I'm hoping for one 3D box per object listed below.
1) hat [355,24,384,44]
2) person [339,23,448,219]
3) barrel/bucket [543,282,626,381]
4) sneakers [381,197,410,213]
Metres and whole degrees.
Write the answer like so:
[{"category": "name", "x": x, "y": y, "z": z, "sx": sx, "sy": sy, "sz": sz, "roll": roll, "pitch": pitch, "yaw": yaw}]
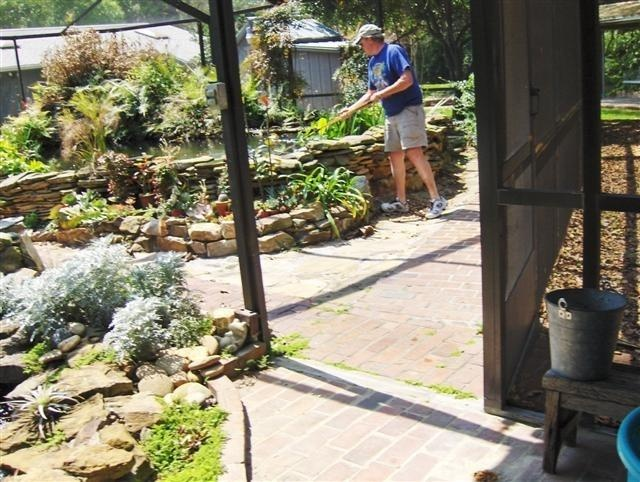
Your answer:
[{"category": "hat", "x": 0.588, "y": -2.517, "z": 6.302, "sx": 0.322, "sy": 0.250, "sz": 0.414, "roll": -4, "pitch": 13, "yaw": 12}, {"category": "person", "x": 0.942, "y": -1.482, "z": 6.622, "sx": 0.998, "sy": 2.444, "sz": 0.867, "roll": -9, "pitch": 16, "yaw": 4}, {"category": "barrel/bucket", "x": 1.277, "y": 0.437, "z": 2.502, "sx": 0.337, "sy": 0.401, "sz": 0.298, "roll": -1, "pitch": 16, "yaw": 26}, {"category": "sneakers", "x": 0.997, "y": -0.481, "z": 7.082, "sx": 0.417, "sy": 0.168, "sz": 0.170, "roll": 2, "pitch": 17, "yaw": -1}]
